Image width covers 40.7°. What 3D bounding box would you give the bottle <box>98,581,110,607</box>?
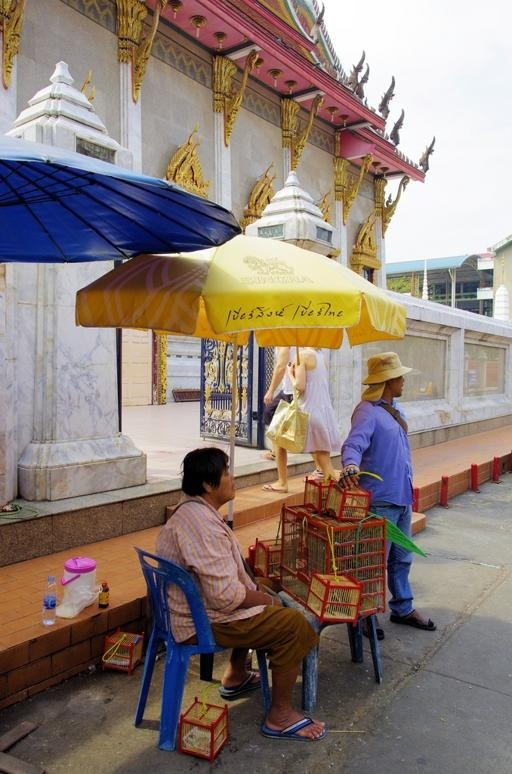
[{"bbox_3d":[-0.866,1.164,3.929,0.067,0.119,0.223,1,3,-11],"label":"bottle"}]

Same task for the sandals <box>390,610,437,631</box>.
[{"bbox_3d":[1.003,1.481,4.457,0.297,0.111,0.102,1,5,29],"label":"sandals"}]

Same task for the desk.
[{"bbox_3d":[0.429,1.314,3.531,0.411,0.331,0.433,-4,-16,4],"label":"desk"}]

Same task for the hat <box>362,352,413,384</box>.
[{"bbox_3d":[0.818,-0.107,4.325,0.232,0.121,0.223,-22,5,-1],"label":"hat"}]

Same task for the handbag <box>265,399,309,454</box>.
[{"bbox_3d":[0.312,0.294,6.143,0.352,0.456,0.193,19,1,33],"label":"handbag"}]

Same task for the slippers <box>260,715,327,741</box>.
[{"bbox_3d":[0.174,1.511,3.102,0.218,0.065,0.113,1,-2,2],"label":"slippers"}]

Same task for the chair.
[{"bbox_3d":[-0.234,1.177,3.494,0.840,1.119,0.635,2,-4,-27],"label":"chair"}]

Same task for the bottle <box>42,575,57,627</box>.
[{"bbox_3d":[-1.069,1.099,3.581,0.063,0.256,0.081,0,3,-23],"label":"bottle"}]

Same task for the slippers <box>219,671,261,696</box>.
[{"bbox_3d":[-0.084,1.516,3.498,0.082,0.073,0.223,7,6,41],"label":"slippers"}]
